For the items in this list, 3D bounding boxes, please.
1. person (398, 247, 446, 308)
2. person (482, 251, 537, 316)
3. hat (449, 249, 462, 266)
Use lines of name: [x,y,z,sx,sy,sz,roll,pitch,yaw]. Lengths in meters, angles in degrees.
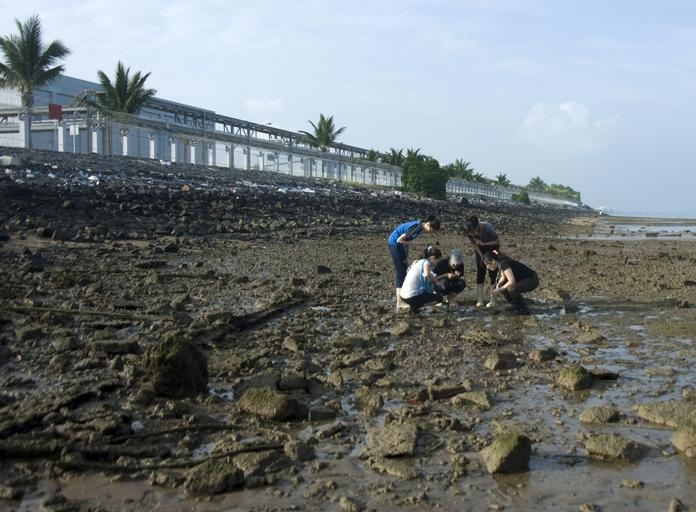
person: [1.212,0.396,10.484,0.698,0.986,0.560,-10,15,-44]
person: [2.628,0.361,10.553,0.787,0.938,0.726,7,12,28]
hat: [1.738,0.019,10.409,0.187,0.256,0.224,3,11,9]
